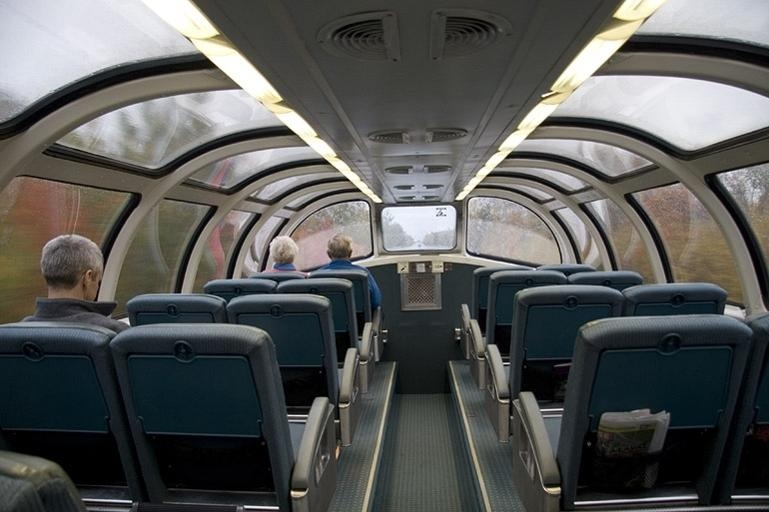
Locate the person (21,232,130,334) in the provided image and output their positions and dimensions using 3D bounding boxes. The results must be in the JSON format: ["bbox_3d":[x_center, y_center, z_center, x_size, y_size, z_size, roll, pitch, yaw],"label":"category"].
[{"bbox_3d":[-2.538,0.253,3.829,0.956,0.781,0.458,2,4,14],"label":"person"}]

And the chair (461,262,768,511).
[{"bbox_3d":[1.693,0.898,4.201,1.449,1.415,2.321,-1,10,1],"label":"chair"}]

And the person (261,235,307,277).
[{"bbox_3d":[-1.966,0.020,8.990,0.884,0.732,0.516,1,16,-3],"label":"person"}]
